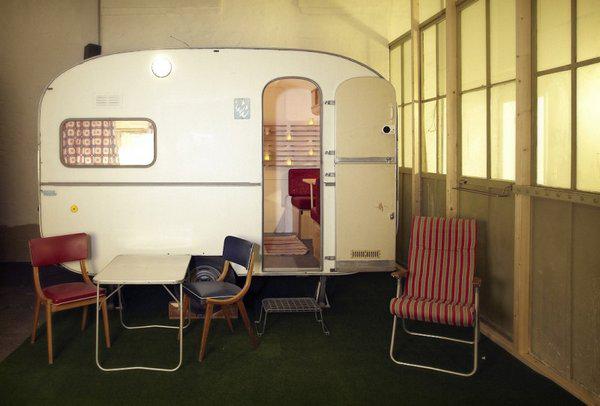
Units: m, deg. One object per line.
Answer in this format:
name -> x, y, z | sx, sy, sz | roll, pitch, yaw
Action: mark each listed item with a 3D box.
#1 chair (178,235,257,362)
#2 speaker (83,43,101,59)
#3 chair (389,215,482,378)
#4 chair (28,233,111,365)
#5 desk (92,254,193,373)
chair -> -0.988, 1.063, 5.595 | 0.952, 1.164, 0.969 | 1, 6, 2
speaker -> -2.799, -2.056, 6.432 | 0.194, 0.177, 0.271 | -8, 17, -28
chair -> 1.560, 0.958, 5.370 | 1.001, 1.467, 1.092 | 5, 15, 17
chair -> -2.707, 1.070, 5.549 | 0.916, 1.247, 0.936 | 2, 10, -17
desk -> -1.796, 1.284, 5.574 | 0.899, 0.814, 1.630 | 1, -6, -11
